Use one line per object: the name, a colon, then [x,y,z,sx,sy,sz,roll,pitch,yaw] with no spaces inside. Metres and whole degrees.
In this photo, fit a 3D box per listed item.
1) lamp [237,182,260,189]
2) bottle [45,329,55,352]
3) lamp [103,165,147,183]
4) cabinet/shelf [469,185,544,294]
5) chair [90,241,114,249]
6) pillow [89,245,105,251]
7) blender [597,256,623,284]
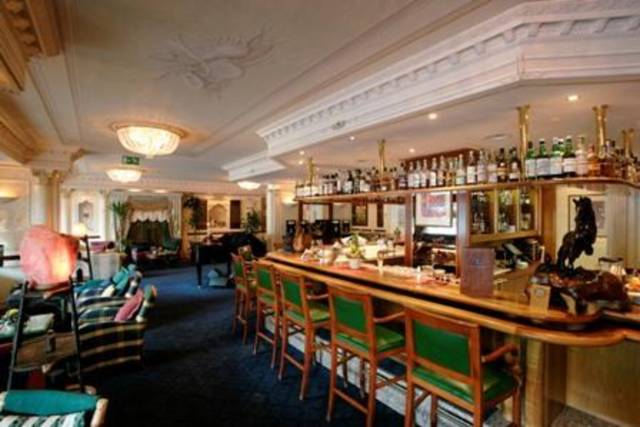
lamp: [-1.902,-0.776,10.702,0.505,0.149,0.467,2,-2,-28]
bottle: [-2.706,1.250,3.940,0.088,0.187,0.234,-11,13,-31]
lamp: [-4.447,-0.910,9.073,0.794,0.310,0.741,0,-1,-30]
cabinet/shelf: [2.766,0.374,5.930,2.032,1.627,0.646,3,-5,-45]
chair: [-6.287,0.911,11.330,0.348,0.186,0.351,-2,-2,38]
pillow: [-6.277,0.976,11.152,0.497,0.138,0.300,7,2,-12]
blender: [3.337,0.655,4.553,0.282,0.253,0.276,-9,10,-32]
